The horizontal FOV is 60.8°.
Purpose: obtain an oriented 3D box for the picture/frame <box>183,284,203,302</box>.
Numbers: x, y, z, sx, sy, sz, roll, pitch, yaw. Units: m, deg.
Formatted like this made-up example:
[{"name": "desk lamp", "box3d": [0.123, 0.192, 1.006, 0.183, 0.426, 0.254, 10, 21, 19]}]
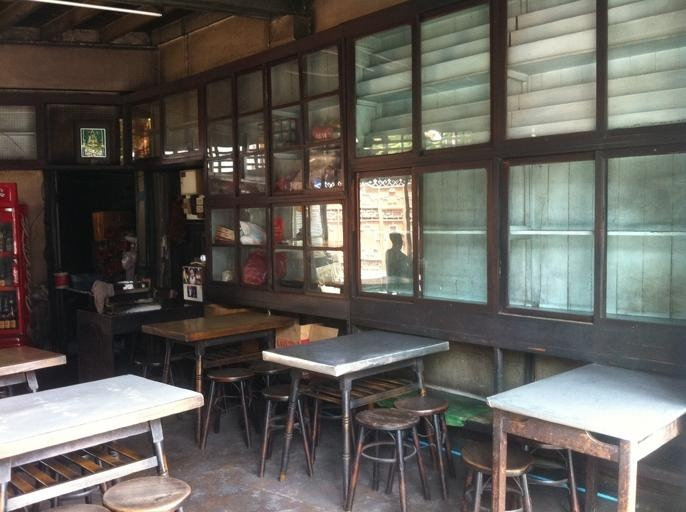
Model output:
[{"name": "picture/frame", "box3d": [-1.668, 0.406, 6.532, 0.218, 0.132, 0.022, 5, 7, 42]}]
